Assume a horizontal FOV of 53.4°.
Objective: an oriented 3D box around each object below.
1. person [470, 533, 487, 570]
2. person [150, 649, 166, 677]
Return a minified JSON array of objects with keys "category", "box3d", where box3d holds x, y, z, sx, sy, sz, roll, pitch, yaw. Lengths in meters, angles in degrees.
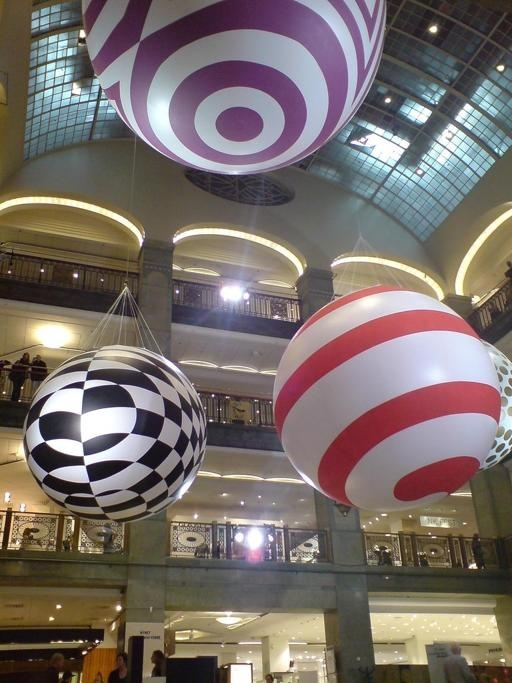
[{"category":"person","box3d":[6.619,6.276,15.239,0.357,0.908,0.282,-7,-25,7]},{"category":"person","box3d":[-1.207,3.988,6.318,0.144,0.243,0.899,2,-25,-12]}]
